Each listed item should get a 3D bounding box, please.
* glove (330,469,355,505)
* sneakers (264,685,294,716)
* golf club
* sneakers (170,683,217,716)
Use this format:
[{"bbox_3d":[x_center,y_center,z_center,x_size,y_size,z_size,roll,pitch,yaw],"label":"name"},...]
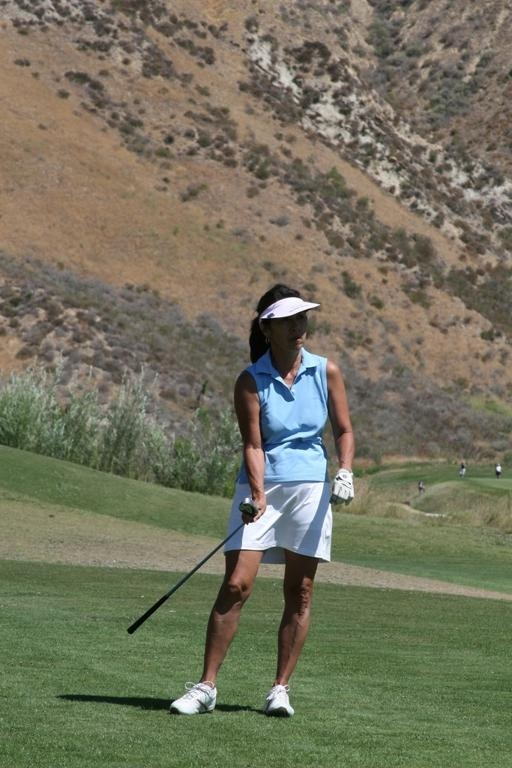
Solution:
[{"bbox_3d":[0.345,0.485,5.135,0.059,0.139,0.098,7,4,23],"label":"glove"},{"bbox_3d":[0.093,1.330,4.870,0.109,0.103,0.161,0,-3,14],"label":"sneakers"},{"bbox_3d":[-0.244,0.846,5.181,0.100,0.749,0.101,45,-5,-12],"label":"golf club"},{"bbox_3d":[-0.224,1.314,4.847,0.079,0.095,0.200,18,15,42],"label":"sneakers"}]
